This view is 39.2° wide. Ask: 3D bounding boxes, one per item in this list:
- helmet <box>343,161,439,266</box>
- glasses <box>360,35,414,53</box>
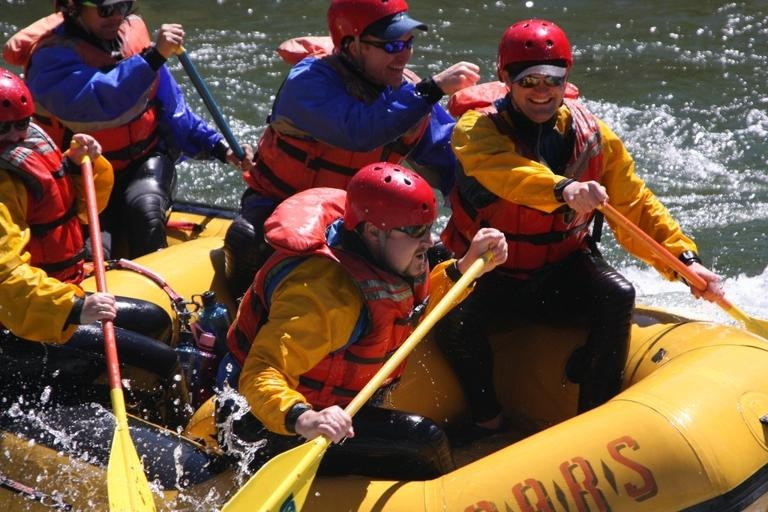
[{"bbox_3d":[0.034,-0.264,5.266,0.487,0.364,0.360,18,17,26],"label":"helmet"},{"bbox_3d":[0.022,-1.152,5.891,0.151,0.042,0.148,14,22,24],"label":"glasses"}]
